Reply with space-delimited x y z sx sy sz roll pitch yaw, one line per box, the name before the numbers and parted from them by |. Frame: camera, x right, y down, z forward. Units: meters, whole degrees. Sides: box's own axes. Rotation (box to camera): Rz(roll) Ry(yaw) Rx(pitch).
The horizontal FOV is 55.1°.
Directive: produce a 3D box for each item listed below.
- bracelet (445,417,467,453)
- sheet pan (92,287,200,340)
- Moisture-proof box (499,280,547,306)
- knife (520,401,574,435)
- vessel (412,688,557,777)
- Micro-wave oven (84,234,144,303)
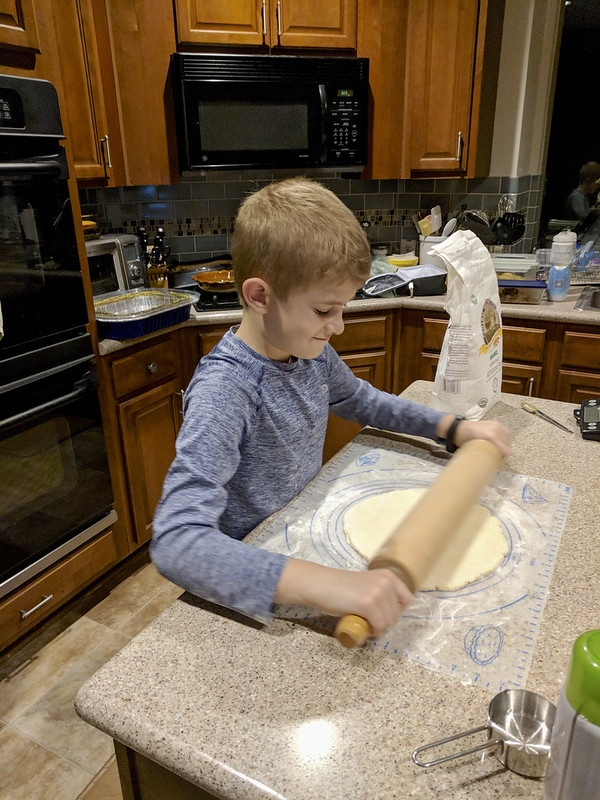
bracelet | 0.265 0.060 1.000 0.014 0.050 0.052 13 32 22
sheet pan | -0.548 -0.325 2.033 0.227 0.079 0.314 18 30 28
Moisture-proof box | 0.885 -0.432 2.304 0.151 0.050 0.154 -2 15 -4
knife | 0.503 0.038 1.177 0.022 0.011 0.134 -17 24 -6
vessel | 0.153 0.277 0.469 0.104 0.021 0.056 -13 25 -16
Micro-wave oven | -0.713 -0.498 2.191 0.181 0.204 0.303 11 24 25
